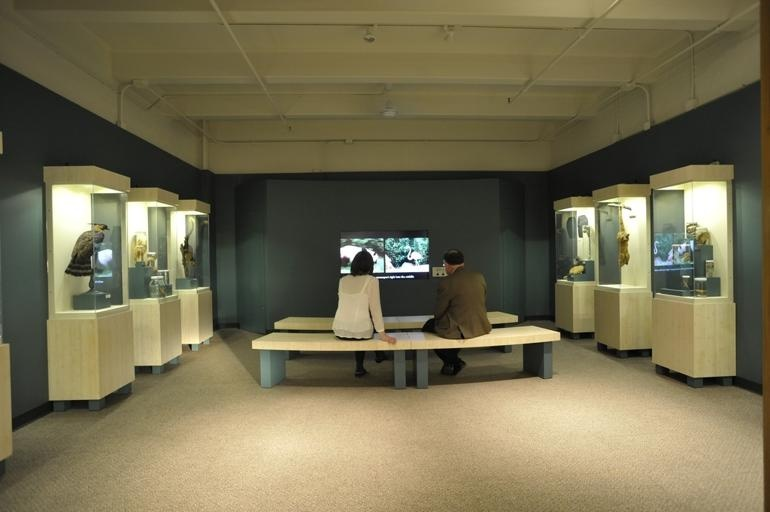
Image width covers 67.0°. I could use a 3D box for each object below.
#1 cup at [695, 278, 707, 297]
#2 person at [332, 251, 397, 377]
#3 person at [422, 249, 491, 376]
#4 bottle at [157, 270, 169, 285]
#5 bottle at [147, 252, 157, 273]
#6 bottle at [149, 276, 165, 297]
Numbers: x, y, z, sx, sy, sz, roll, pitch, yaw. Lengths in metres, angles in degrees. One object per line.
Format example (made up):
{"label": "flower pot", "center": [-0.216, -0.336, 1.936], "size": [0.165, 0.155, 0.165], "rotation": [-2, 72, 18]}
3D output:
{"label": "cup", "center": [4.303, 0.414, 7.967], "size": [0.143, 0.250, 0.070], "rotation": [1, 6, 15]}
{"label": "person", "center": [-0.287, 0.539, 7.974], "size": [0.855, 1.197, 0.380], "rotation": [2, 6, 24]}
{"label": "person", "center": [1.016, 0.842, 8.166], "size": [0.881, 1.821, 0.627], "rotation": [0, 6, 3]}
{"label": "bottle", "center": [-3.318, 0.332, 8.847], "size": [0.164, 0.288, 0.176], "rotation": [-1, 4, 0]}
{"label": "bottle", "center": [-3.429, 0.094, 8.668], "size": [0.169, 0.304, 0.055], "rotation": [-6, 8, -43]}
{"label": "bottle", "center": [-3.376, 0.454, 8.697], "size": [0.194, 0.281, 0.270], "rotation": [0, -5, -4]}
